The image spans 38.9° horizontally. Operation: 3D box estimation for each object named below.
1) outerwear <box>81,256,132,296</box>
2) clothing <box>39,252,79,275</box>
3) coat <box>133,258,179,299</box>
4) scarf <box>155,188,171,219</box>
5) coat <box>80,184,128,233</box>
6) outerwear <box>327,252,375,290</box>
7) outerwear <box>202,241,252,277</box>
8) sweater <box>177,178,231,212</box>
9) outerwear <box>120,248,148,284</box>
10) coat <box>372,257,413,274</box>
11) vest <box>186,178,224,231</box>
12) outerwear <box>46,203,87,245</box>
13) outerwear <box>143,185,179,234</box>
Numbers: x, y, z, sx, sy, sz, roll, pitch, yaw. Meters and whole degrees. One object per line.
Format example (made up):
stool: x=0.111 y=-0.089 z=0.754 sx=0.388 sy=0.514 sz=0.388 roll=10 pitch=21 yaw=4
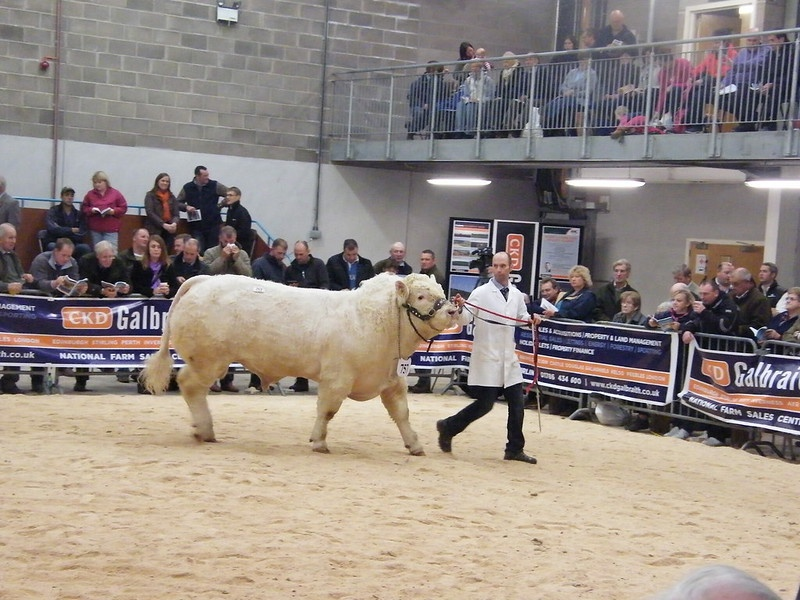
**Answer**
outerwear: x=-4.395 y=-0.368 z=16.803 sx=0.580 sy=0.567 sz=0.730 roll=-5 pitch=18 yaw=-38
clothing: x=-5.028 y=-0.506 z=16.654 sx=0.687 sy=0.437 sz=0.359 roll=-1 pitch=5 yaw=-33
coat: x=-3.785 y=-0.336 z=17.016 sx=0.880 sy=0.671 sz=0.591 roll=-1 pitch=3 yaw=-34
scarf: x=-4.083 y=-1.680 z=19.656 sx=0.183 sy=0.423 sz=0.391 roll=-21 pitch=-15 yaw=29
coat: x=-5.040 y=-1.537 z=19.197 sx=0.721 sy=0.782 sz=0.332 roll=1 pitch=5 yaw=-20
outerwear: x=-0.841 y=-0.458 z=18.404 sx=1.005 sy=0.770 sz=0.489 roll=-1 pitch=3 yaw=-25
outerwear: x=-2.681 y=-0.626 z=17.383 sx=0.926 sy=0.399 sz=1.140 roll=1 pitch=4 yaw=-9
sweater: x=-3.522 y=-1.861 z=20.193 sx=0.854 sy=0.385 sz=0.319 roll=-9 pitch=19 yaw=-31
outerwear: x=-3.961 y=-0.548 z=16.891 sx=0.454 sy=0.511 sz=0.212 roll=8 pitch=-18 yaw=-39
coat: x=-0.180 y=-0.577 z=18.790 sx=0.826 sy=0.284 sz=0.916 roll=1 pitch=0 yaw=-7
vest: x=-3.474 y=-1.723 z=20.175 sx=0.792 sy=0.825 sz=0.381 roll=0 pitch=5 yaw=-32
outerwear: x=-5.547 y=-1.237 z=18.897 sx=0.845 sy=0.730 sz=0.686 roll=7 pitch=14 yaw=-17
outerwear: x=-4.080 y=-1.545 z=19.636 sx=0.492 sy=0.800 sz=0.624 roll=6 pitch=5 yaw=37
